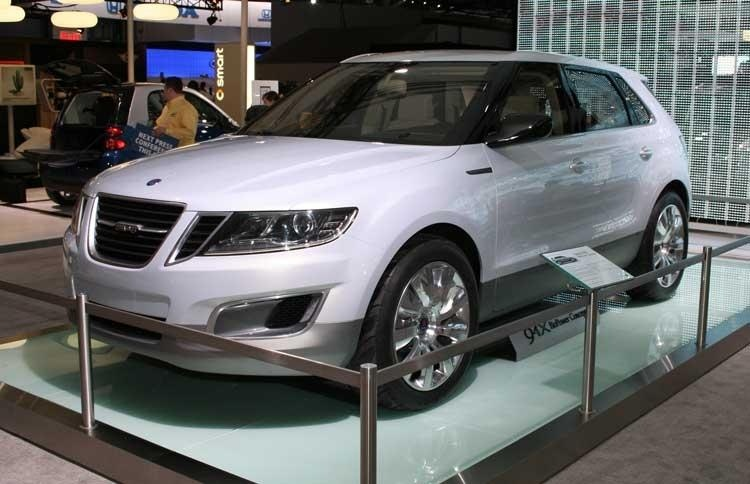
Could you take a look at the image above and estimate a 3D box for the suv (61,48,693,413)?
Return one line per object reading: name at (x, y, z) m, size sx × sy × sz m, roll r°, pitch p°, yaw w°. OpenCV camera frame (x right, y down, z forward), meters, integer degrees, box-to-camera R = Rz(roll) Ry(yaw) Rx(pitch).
suv at (0.499, -0.561, 4.165) m, size 5.029 × 1.964 × 2.026 m, roll -7°, pitch 17°, yaw -37°
